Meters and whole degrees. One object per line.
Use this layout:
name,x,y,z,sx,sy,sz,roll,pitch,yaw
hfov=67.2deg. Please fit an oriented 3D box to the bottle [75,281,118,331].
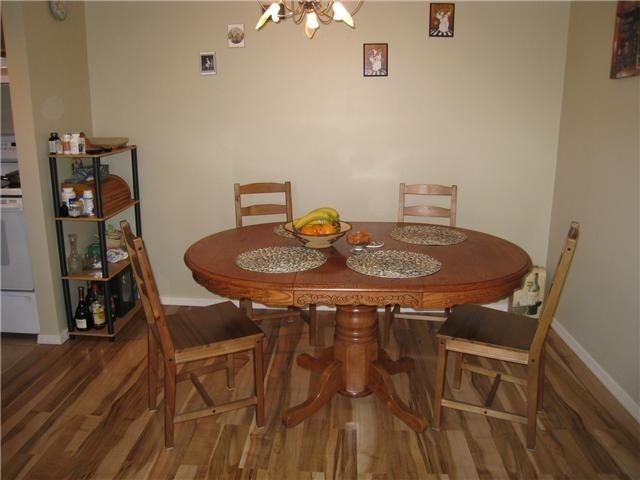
bottle,-1.671,0.482,3.467,0.221,0.357,0.152,-10,17,-26

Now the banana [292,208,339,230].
banana,-0.027,-0.133,2.824,0.227,0.126,0.061,-11,28,-12

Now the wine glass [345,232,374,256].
wine glass,0.220,0.016,2.737,0.127,0.084,0.125,0,17,2

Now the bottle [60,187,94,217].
bottle,-1.660,-0.251,3.281,0.217,0.203,0.075,-1,0,-8

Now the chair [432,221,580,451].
chair,0.976,0.454,2.596,0.646,1.158,0.605,5,17,26

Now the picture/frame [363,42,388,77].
picture/frame,0.418,-1.359,3.584,0.240,0.287,0.019,-1,10,-1

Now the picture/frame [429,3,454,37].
picture/frame,0.891,-1.619,3.503,0.243,0.291,0.021,0,12,1

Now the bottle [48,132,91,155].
bottle,-1.692,-0.638,3.212,0.247,0.165,0.176,-1,8,-16
